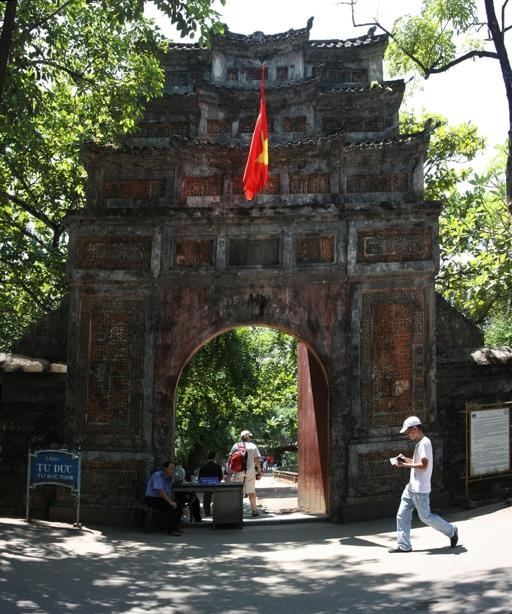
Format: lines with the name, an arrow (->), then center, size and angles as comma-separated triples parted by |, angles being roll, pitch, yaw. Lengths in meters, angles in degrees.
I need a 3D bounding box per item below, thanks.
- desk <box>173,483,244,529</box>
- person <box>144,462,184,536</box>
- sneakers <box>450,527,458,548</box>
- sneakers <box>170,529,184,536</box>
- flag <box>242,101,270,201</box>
desk -> -0.636, 3.192, 12.141 | 1.054, 0.556, 0.527 | -1, -20, 21
person -> -1.332, 2.885, 11.475 | 0.480, 1.074, 0.572 | -10, -16, 39
sneakers -> 2.446, 2.867, 9.452 | 0.098, 0.231, 0.272 | -2, -12, 11
sneakers -> -1.169, 3.398, 11.451 | 0.213, 0.121, 0.073 | 0, -4, 10
flag -> 0.001, -2.734, 12.775 | 0.391, 1.744, 0.523 | 1, -12, -2
